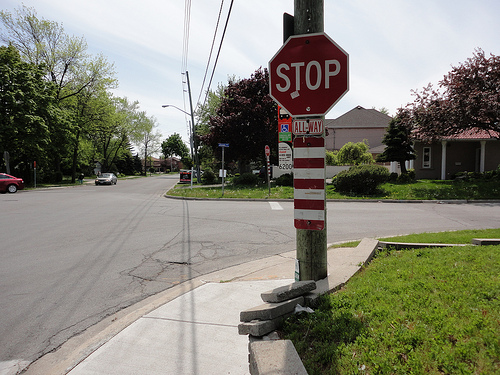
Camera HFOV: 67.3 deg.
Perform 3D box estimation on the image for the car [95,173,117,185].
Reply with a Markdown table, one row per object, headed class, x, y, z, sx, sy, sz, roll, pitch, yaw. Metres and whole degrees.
| class | x | y | z | sx | sy | sz | roll | pitch | yaw |
| --- | --- | --- | --- | --- | --- | --- | --- | --- | --- |
| car | -15.083 | -0.906 | 39.488 | 1.002 | 0.753 | 2.293 | 0 | 8 | -13 |
